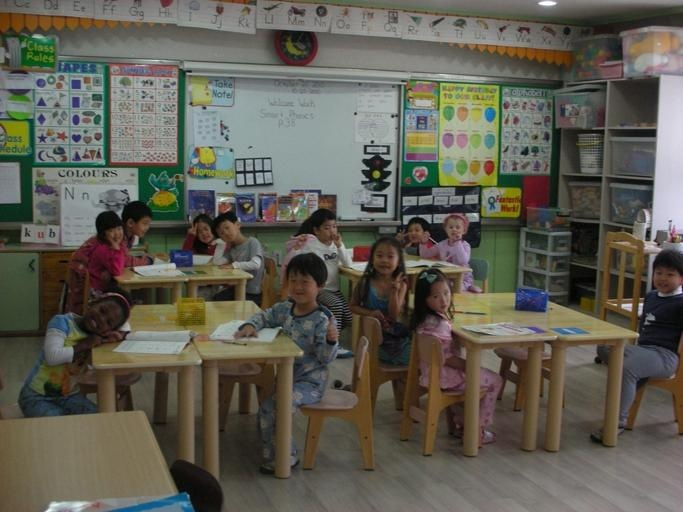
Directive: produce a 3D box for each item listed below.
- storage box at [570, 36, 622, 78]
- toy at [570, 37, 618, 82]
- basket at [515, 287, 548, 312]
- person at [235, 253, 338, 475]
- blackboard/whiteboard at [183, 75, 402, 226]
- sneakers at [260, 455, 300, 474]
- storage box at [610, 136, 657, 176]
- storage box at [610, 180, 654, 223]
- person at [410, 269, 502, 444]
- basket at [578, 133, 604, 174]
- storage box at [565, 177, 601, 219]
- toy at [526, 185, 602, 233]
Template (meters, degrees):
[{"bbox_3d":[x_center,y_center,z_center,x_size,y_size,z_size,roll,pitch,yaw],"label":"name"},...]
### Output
[{"bbox_3d":[2.708,-2.140,6.018,0.525,0.489,0.521,1,4,22],"label":"storage box"},{"bbox_3d":[2.753,-2.140,6.118,0.483,0.441,0.483,2,5,27],"label":"toy"},{"bbox_3d":[1.182,0.271,3.476,0.164,0.115,0.161,2,5,9],"label":"basket"},{"bbox_3d":[-0.268,0.539,2.836,0.479,1.095,0.398,6,10,25],"label":"person"},{"bbox_3d":[-0.588,-1.098,5.577,1.733,1.105,0.126,1,1,-16],"label":"blackboard/whiteboard"},{"bbox_3d":[-0.312,1.042,2.768,0.120,0.061,0.199,2,4,3],"label":"sneakers"},{"bbox_3d":[2.930,-0.996,5.605,0.419,0.286,0.404,-2,5,-14],"label":"storage box"},{"bbox_3d":[2.931,-0.569,5.715,0.369,0.415,0.434,-2,8,-16],"label":"storage box"},{"bbox_3d":[0.633,0.606,3.151,0.519,0.447,0.937,-2,10,-11],"label":"person"},{"bbox_3d":[2.614,-1.116,6.108,0.399,0.412,0.393,0,6,14],"label":"basket"},{"bbox_3d":[2.705,-0.628,6.233,0.467,0.324,0.361,0,5,-2],"label":"storage box"},{"bbox_3d":[2.485,-0.506,6.183,0.600,0.350,0.579,-2,5,-21],"label":"toy"}]
